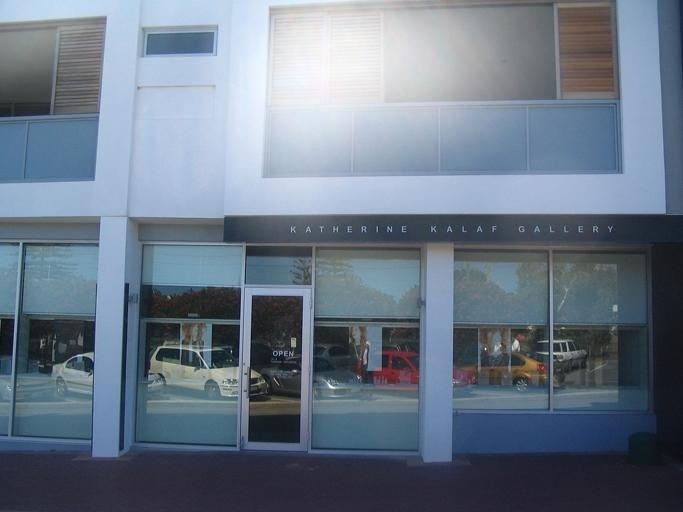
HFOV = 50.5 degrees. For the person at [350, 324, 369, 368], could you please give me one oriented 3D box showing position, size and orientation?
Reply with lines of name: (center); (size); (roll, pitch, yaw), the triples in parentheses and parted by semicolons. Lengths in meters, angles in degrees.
person: (0.345, 1.777, 13.706); (0.368, 0.865, 0.254); (-1, 13, -2)
